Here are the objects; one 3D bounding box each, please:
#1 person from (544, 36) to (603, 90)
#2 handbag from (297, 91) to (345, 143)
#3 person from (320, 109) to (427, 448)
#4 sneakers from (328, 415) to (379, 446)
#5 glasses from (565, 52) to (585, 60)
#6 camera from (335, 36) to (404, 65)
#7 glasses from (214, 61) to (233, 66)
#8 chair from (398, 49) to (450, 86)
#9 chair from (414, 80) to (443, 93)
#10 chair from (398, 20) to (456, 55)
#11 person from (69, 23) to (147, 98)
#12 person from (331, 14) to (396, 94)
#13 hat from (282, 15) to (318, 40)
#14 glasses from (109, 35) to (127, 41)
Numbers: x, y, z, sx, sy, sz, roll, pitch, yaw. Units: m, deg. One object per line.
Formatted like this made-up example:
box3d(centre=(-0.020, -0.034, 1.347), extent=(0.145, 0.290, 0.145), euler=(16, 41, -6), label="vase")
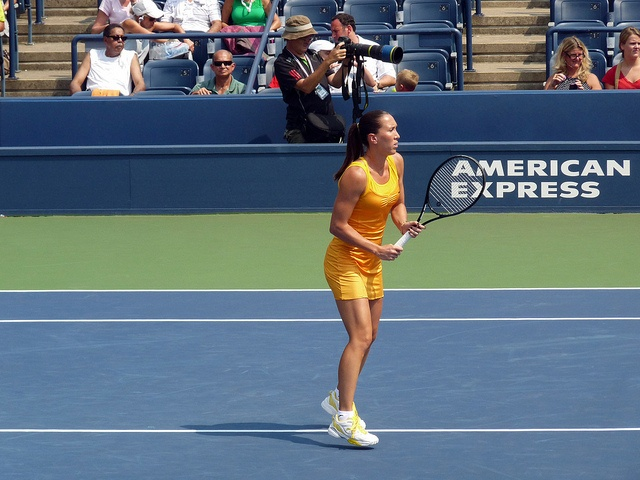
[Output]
box3d(centre=(2.967, -2.114, 16.782), extent=(0.511, 0.676, 0.691), euler=(7, 48, 17), label="person")
box3d(centre=(0.037, -1.408, 16.638), extent=(0.404, 0.585, 0.596), euler=(7, 26, 7), label="handbag")
box3d(centre=(0.372, 0.290, 11.706), extent=(0.751, 2.716, 0.835), euler=(4, 10, 17), label="person")
box3d(centre=(0.267, 1.543, 11.579), extent=(0.456, 0.203, 0.190), euler=(16, 11, 30), label="sneakers")
box3d(centre=(2.977, -2.193, 16.678), extent=(0.232, 0.077, 0.156), euler=(1, 9, -1), label="glasses")
box3d(centre=(0.536, -2.073, 15.339), extent=(0.268, 0.247, 0.880), euler=(-35, 27, -27), label="camera")
box3d(centre=(-1.206, -2.182, 17.278), extent=(0.228, 0.089, 0.133), euler=(0, 9, -8), label="glasses")
box3d(centre=(1.324, -2.303, 18.483), extent=(0.592, 0.547, 0.494), euler=(0, 7, 10), label="chair")
box3d(centre=(1.357, -1.966, 17.939), extent=(0.250, 0.229, 0.228), euler=(0, 2, -4), label="chair")
box3d(centre=(1.395, -2.840, 19.194), extent=(0.600, 0.633, 0.561), euler=(-1, 3, 6), label="chair")
box3d(centre=(-2.711, -2.163, 18.084), extent=(0.913, 1.225, 0.672), euler=(6, 3, -1), label="person")
box3d(centre=(0.650, -2.167, 17.427), extent=(0.392, 0.660, 1.160), euler=(-30, 31, -17), label="person")
box3d(centre=(-0.290, -2.395, 15.808), extent=(0.287, 0.147, 0.292), euler=(-9, 3, -17), label="hat")
box3d(centre=(-2.582, -2.593, 17.989), extent=(0.256, 0.089, 0.109), euler=(-3, 10, -26), label="glasses")
